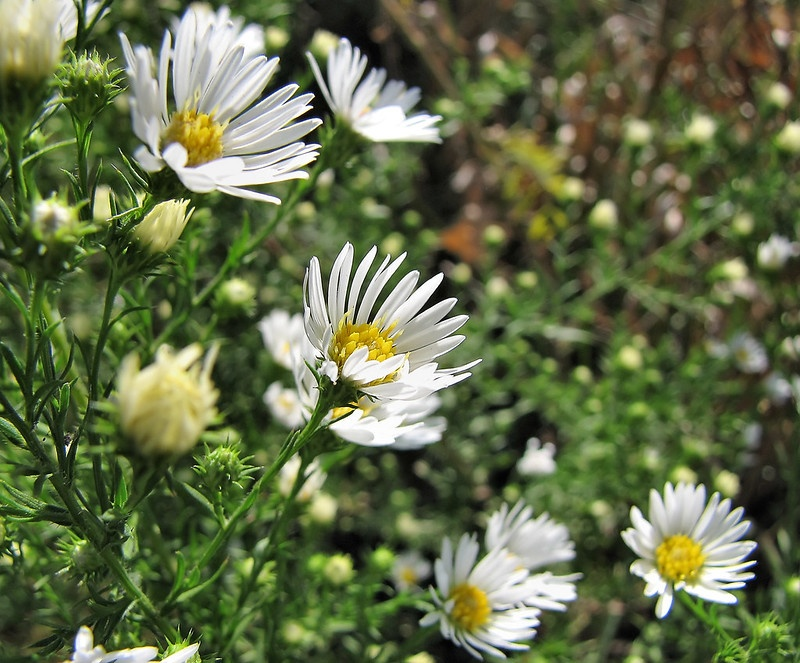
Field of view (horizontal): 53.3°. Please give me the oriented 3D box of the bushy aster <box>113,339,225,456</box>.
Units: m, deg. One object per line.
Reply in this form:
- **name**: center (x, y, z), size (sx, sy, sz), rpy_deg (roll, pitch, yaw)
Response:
- **bushy aster**: center (-0.218, 0.056, 0.774), size (0.084, 0.101, 0.109), rpy_deg (25, 84, -42)

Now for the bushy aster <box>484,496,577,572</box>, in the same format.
- **bushy aster**: center (0.150, 0.276, 1.105), size (0.129, 0.118, 0.065), rpy_deg (1, 83, -58)

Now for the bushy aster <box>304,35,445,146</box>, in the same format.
- **bushy aster**: center (-0.036, -0.280, 1.049), size (0.186, 0.076, 0.179), rpy_deg (58, 30, 5)

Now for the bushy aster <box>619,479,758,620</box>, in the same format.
- **bushy aster**: center (0.352, 0.263, 1.001), size (0.144, 0.153, 0.069), rpy_deg (-18, 102, -5)

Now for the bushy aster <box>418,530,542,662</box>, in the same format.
- **bushy aster**: center (0.103, 0.330, 1.002), size (0.130, 0.104, 0.140), rpy_deg (23, 56, -4)

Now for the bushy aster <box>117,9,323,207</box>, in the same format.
- **bushy aster**: center (-0.204, -0.262, 0.917), size (0.243, 0.109, 0.263), rpy_deg (32, 12, 0)
